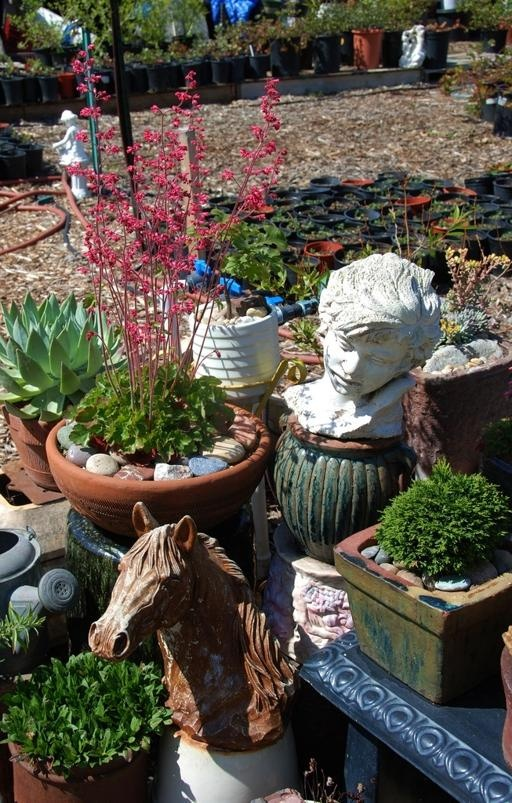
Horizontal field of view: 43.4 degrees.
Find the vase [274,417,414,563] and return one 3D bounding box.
[{"bbox_3d":[0.248,0.244,1.884,0.441,0.407,0.373,10,20,20],"label":"vase"}]
